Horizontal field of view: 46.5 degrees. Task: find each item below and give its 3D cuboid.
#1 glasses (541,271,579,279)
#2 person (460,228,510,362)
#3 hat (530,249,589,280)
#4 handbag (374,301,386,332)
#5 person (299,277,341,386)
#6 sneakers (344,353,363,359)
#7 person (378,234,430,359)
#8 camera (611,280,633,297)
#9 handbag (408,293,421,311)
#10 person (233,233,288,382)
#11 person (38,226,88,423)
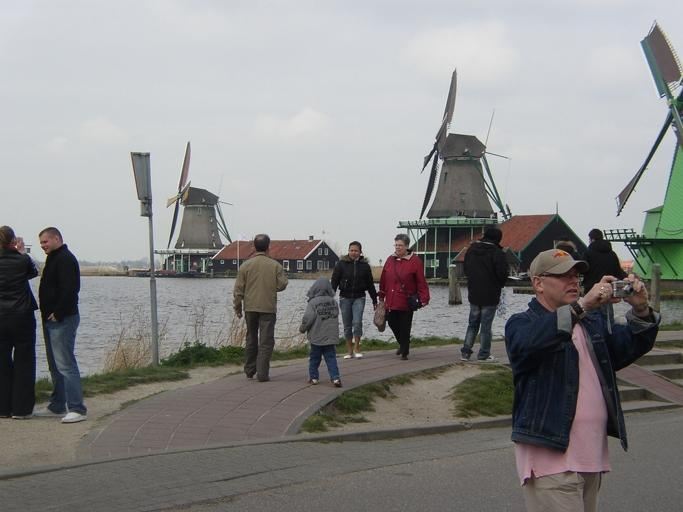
[{"bbox_3d":[1.622,0.144,5.844,0.156,0.054,0.100,-7,-6,34],"label":"glasses"},{"bbox_3d":[2.441,0.617,13.514,0.762,2.319,1.149,0,-2,8],"label":"person"},{"bbox_3d":[1.600,0.066,5.892,0.290,0.170,0.213,-8,-6,42],"label":"hat"},{"bbox_3d":[0.659,1.029,13.534,0.195,0.484,0.405,0,-2,2],"label":"handbag"},{"bbox_3d":[-0.302,1.103,11.817,0.619,1.572,1.076,0,-2,-1],"label":"person"},{"bbox_3d":[0.218,1.788,14.221,0.331,0.105,0.121,3,4,44],"label":"sneakers"},{"bbox_3d":[1.052,0.715,13.575,0.638,2.146,0.842,1,-2,-25],"label":"person"},{"bbox_3d":[1.993,0.232,5.606,0.119,0.101,0.117,-1,-1,-18],"label":"camera"},{"bbox_3d":[1.225,0.767,13.408,0.128,0.269,0.257,-3,0,40],"label":"handbag"},{"bbox_3d":[-1.232,0.763,11.988,0.789,2.217,0.972,1,-2,-6],"label":"person"},{"bbox_3d":[-3.534,0.855,9.994,0.583,2.416,0.699,2,-3,-41],"label":"person"}]
